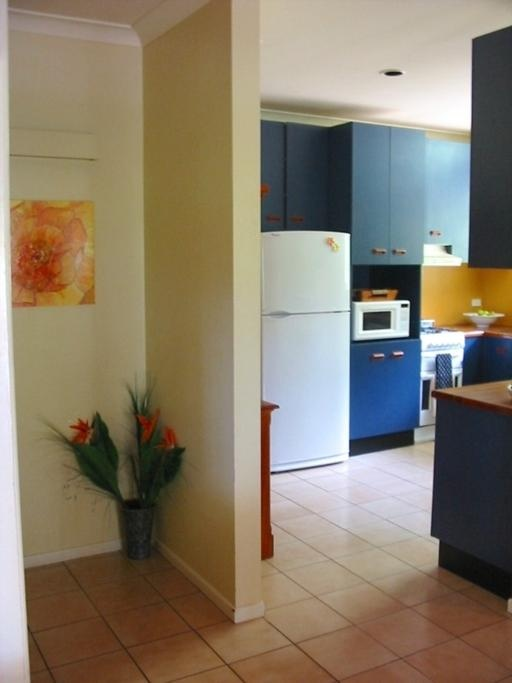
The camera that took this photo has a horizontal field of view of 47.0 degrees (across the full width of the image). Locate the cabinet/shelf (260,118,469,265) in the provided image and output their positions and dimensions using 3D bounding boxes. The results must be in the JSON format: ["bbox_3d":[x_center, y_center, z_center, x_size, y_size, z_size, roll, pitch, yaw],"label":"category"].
[{"bbox_3d":[0.899,-1.101,4.511,1.924,1.061,0.508,-2,4,-38],"label":"cabinet/shelf"}]

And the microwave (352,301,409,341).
[{"bbox_3d":[0.912,-0.151,4.366,0.467,0.333,0.272,-3,5,-28],"label":"microwave"}]

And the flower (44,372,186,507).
[{"bbox_3d":[-0.540,0.513,2.656,0.656,0.620,0.666,-3,5,-32],"label":"flower"}]

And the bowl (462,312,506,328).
[{"bbox_3d":[2.138,-0.205,5.502,0.208,0.082,0.212,1,7,0],"label":"bowl"}]

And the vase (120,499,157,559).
[{"bbox_3d":[-0.546,0.866,2.736,0.165,0.275,0.232,-1,4,-14],"label":"vase"}]

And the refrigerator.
[{"bbox_3d":[0.357,0.088,3.959,0.744,1.608,0.225,-2,4,-38],"label":"refrigerator"}]
